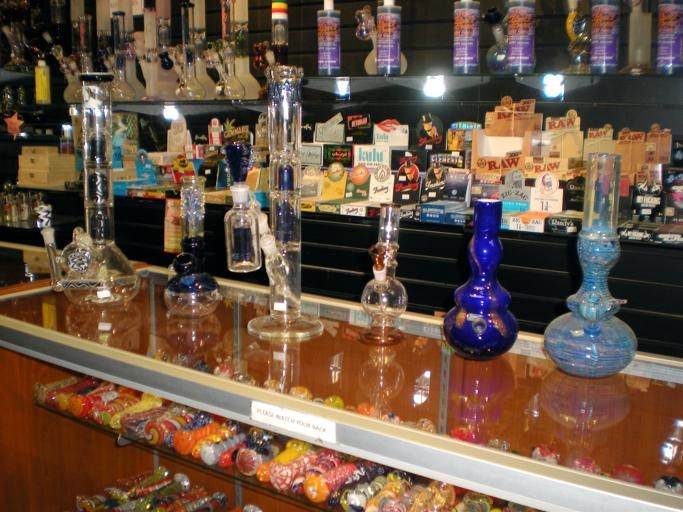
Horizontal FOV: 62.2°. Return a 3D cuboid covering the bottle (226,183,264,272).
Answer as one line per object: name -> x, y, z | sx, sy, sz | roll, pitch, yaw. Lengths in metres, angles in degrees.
bottle -> -0.291, -0.083, 1.679 | 0.100, 0.268, 0.121 | -1, 15, -9

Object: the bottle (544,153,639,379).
bottle -> 0.637, 0.034, 1.432 | 0.238, 0.575, 0.239 | 0, 13, 0

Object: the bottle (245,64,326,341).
bottle -> -0.165, -0.157, 1.694 | 0.251, 0.771, 0.254 | -1, 9, 0

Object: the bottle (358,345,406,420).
bottle -> 0.101, 0.313, 1.421 | 0.100, 0.246, 0.105 | -1, 8, 0
